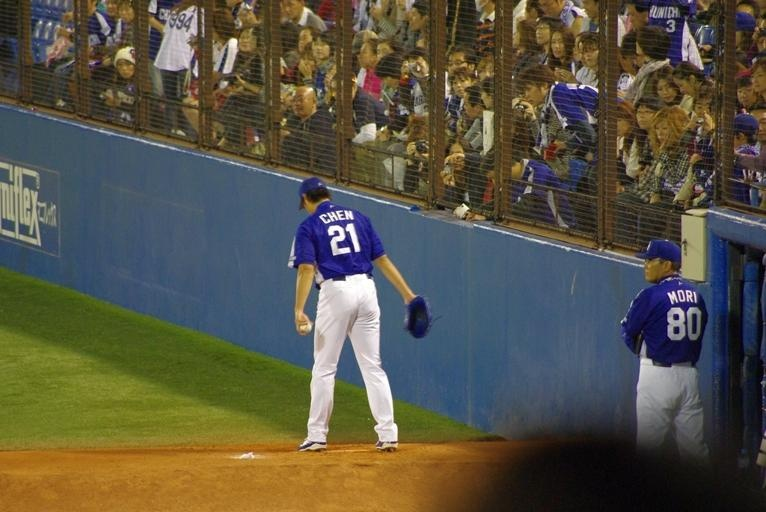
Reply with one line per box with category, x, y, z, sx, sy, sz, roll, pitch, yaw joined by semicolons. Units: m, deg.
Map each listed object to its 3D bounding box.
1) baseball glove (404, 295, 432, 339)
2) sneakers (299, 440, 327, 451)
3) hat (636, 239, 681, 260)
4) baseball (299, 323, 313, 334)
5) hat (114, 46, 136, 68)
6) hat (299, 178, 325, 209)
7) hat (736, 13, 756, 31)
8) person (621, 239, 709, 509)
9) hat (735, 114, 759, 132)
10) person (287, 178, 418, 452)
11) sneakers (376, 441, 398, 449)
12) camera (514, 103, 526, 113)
baseball glove;0.322;0.530;14.584;0.132;0.347;0.261;-2;15;38
sneakers;-0.618;1.642;14.326;0.215;0.102;0.093;2;3;-1
hat;2.375;-0.063;13.837;0.277;0.139;0.188;3;8;19
baseball;-0.673;0.629;14.070;0.042;0.096;0.123;42;-39;2
hat;-2.911;-2.267;18.353;0.174;0.189;0.233;-1;-6;-1
hat;-0.643;-0.580;14.552;0.206;0.167;0.280;-14;2;-30
hat;3.011;-1.959;13.505;0.123;0.124;0.163;6;9;-8
person;2.404;0.759;13.715;0.776;1.819;0.315;4;-4;9
hat;3.033;-1.124;13.576;0.117;0.132;0.167;-17;32;-31
person;-0.299;0.517;14.277;1.084;2.408;0.551;5;-4;-2
sneakers;0.040;1.640;14.290;0.190;0.089;0.070;3;1;4
camera;1.276;-1.388;14.991;0.084;0.084;0.027;48;4;-6
